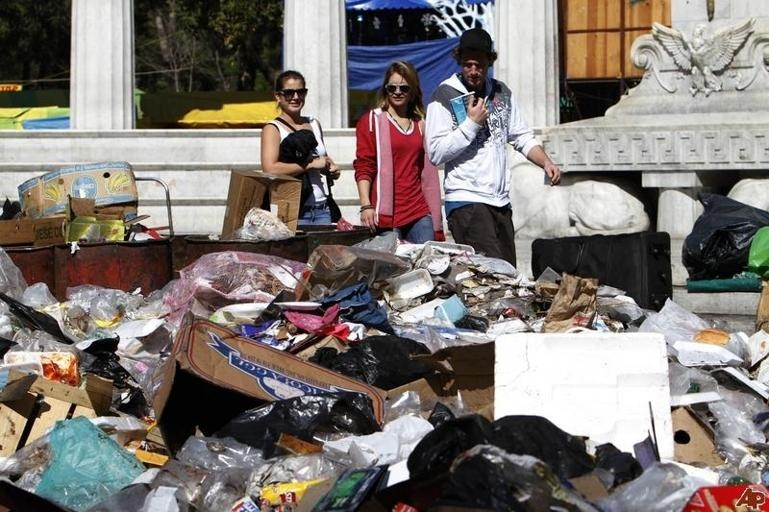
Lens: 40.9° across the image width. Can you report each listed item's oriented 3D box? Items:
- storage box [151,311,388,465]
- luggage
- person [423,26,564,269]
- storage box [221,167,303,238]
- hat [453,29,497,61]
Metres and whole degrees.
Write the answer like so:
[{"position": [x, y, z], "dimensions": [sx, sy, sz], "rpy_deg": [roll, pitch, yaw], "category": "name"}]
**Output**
[{"position": [-0.967, 0.881, 7.613], "dimensions": [1.157, 0.523, 1.268], "rpy_deg": [16, -14, 39], "category": "storage box"}, {"position": [2.174, 0.144, 10.139], "dimensions": [1.283, 0.748, 0.317], "rpy_deg": [1, 5, 17], "category": "luggage"}, {"position": [0.917, -0.960, 9.337], "dimensions": [1.064, 2.184, 0.547], "rpy_deg": [-3, 5, -23], "category": "person"}, {"position": [-1.176, -0.440, 9.784], "dimensions": [0.610, 0.675, 0.515], "rpy_deg": [5, 2, -21], "category": "storage box"}, {"position": [0.866, -1.921, 9.159], "dimensions": [0.392, 0.248, 0.336], "rpy_deg": [5, 6, 21], "category": "hat"}]
